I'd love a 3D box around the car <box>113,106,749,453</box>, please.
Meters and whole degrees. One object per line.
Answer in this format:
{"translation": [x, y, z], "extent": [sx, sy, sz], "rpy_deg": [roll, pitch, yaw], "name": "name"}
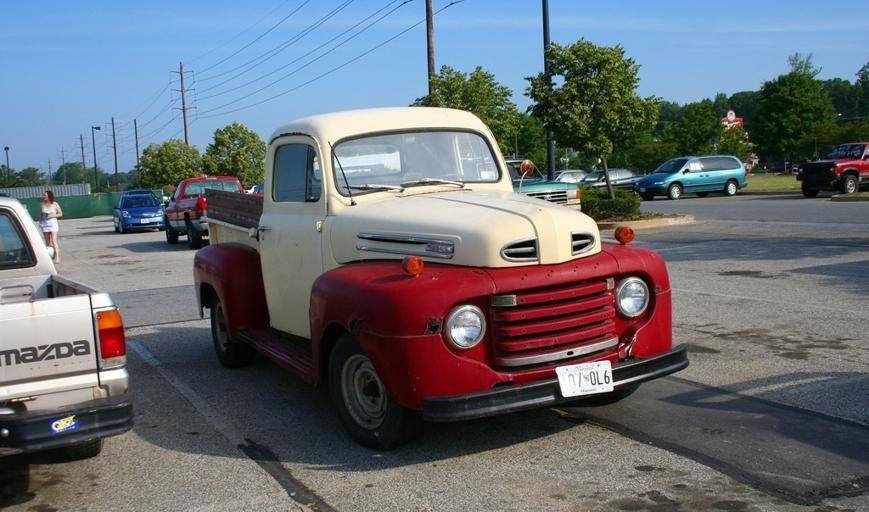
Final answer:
{"translation": [-0.230, 0.042, 7.124], "extent": [4.938, 3.388, 2.487], "rpy_deg": [5, 12, 43], "name": "car"}
